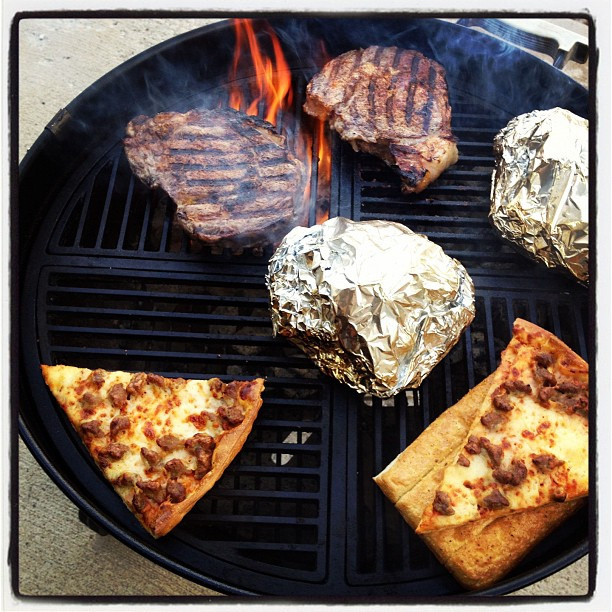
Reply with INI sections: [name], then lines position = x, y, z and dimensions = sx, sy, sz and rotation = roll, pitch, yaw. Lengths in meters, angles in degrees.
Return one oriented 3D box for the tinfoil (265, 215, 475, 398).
[tinfoil]
position = 0.190, -0.052, 2.697
dimensions = 0.621, 0.291, 0.521
rotation = 34, 66, 22
